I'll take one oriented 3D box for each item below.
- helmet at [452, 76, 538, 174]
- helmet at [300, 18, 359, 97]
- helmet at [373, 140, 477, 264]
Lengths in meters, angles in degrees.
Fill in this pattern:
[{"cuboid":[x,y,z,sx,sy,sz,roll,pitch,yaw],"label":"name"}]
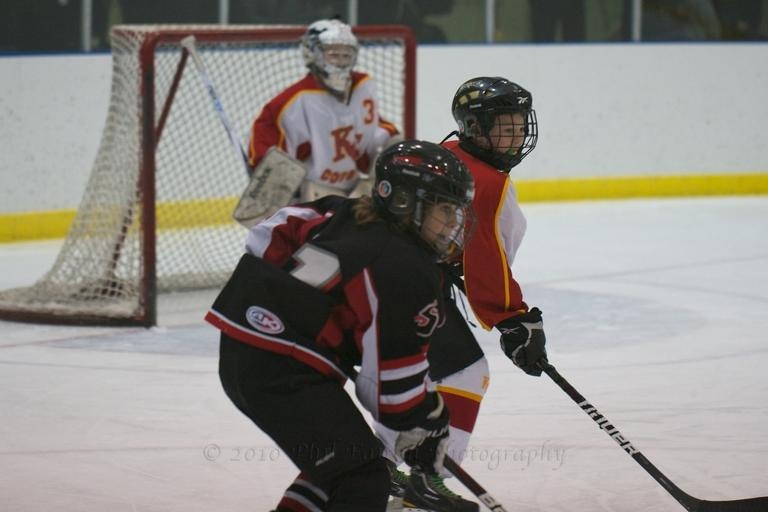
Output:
[{"cuboid":[0.488,-0.595,4.328,0.406,0.365,0.313,13,13,42],"label":"helmet"},{"cuboid":[-0.293,-1.167,5.606,0.323,0.393,0.401,0,14,-18],"label":"helmet"},{"cuboid":[0.123,-0.216,3.916,0.435,0.423,0.352,14,-5,11],"label":"helmet"}]
